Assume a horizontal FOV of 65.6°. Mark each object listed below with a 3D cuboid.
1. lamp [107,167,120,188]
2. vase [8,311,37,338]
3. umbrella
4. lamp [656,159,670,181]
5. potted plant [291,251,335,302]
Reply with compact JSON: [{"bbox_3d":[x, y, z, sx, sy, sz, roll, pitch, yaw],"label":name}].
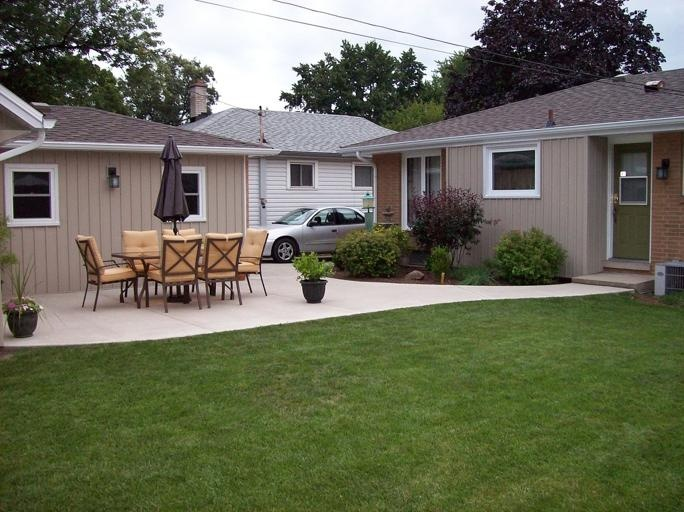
[{"bbox_3d":[-5.452,-1.864,12.680,0.273,0.508,0.215,-4,7,-29],"label":"lamp"},{"bbox_3d":[-4.730,1.003,7.842,0.365,0.313,0.378,2,-4,-24],"label":"vase"},{"bbox_3d":[-3.648,-1.491,11.250,0.658,2.087,0.689,-4,7,-29],"label":"umbrella"},{"bbox_3d":[7.170,-1.928,11.808,0.258,0.473,0.124,4,8,31],"label":"lamp"},{"bbox_3d":[-0.594,0.449,10.774,0.923,1.147,0.888,0,-3,-7],"label":"potted plant"}]
